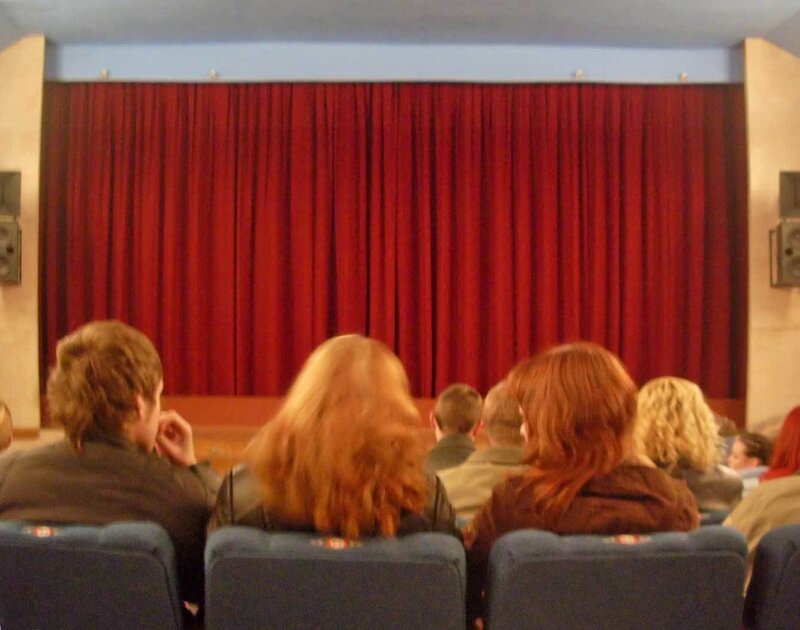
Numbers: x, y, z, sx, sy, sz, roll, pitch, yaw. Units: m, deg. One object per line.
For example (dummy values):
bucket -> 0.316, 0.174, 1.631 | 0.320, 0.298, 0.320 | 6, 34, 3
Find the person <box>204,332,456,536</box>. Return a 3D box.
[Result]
person -> -0.141, 0.348, 2.722 | 0.689, 0.747, 0.387 | 7, 29, 3

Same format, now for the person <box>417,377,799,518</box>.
person -> 0.928, 0.475, 3.407 | 0.607, 0.377, 0.963 | -1, 5, -1

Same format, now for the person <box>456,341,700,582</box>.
person -> 0.585, 0.394, 2.791 | 0.722, 0.776, 0.408 | -6, 30, 0
